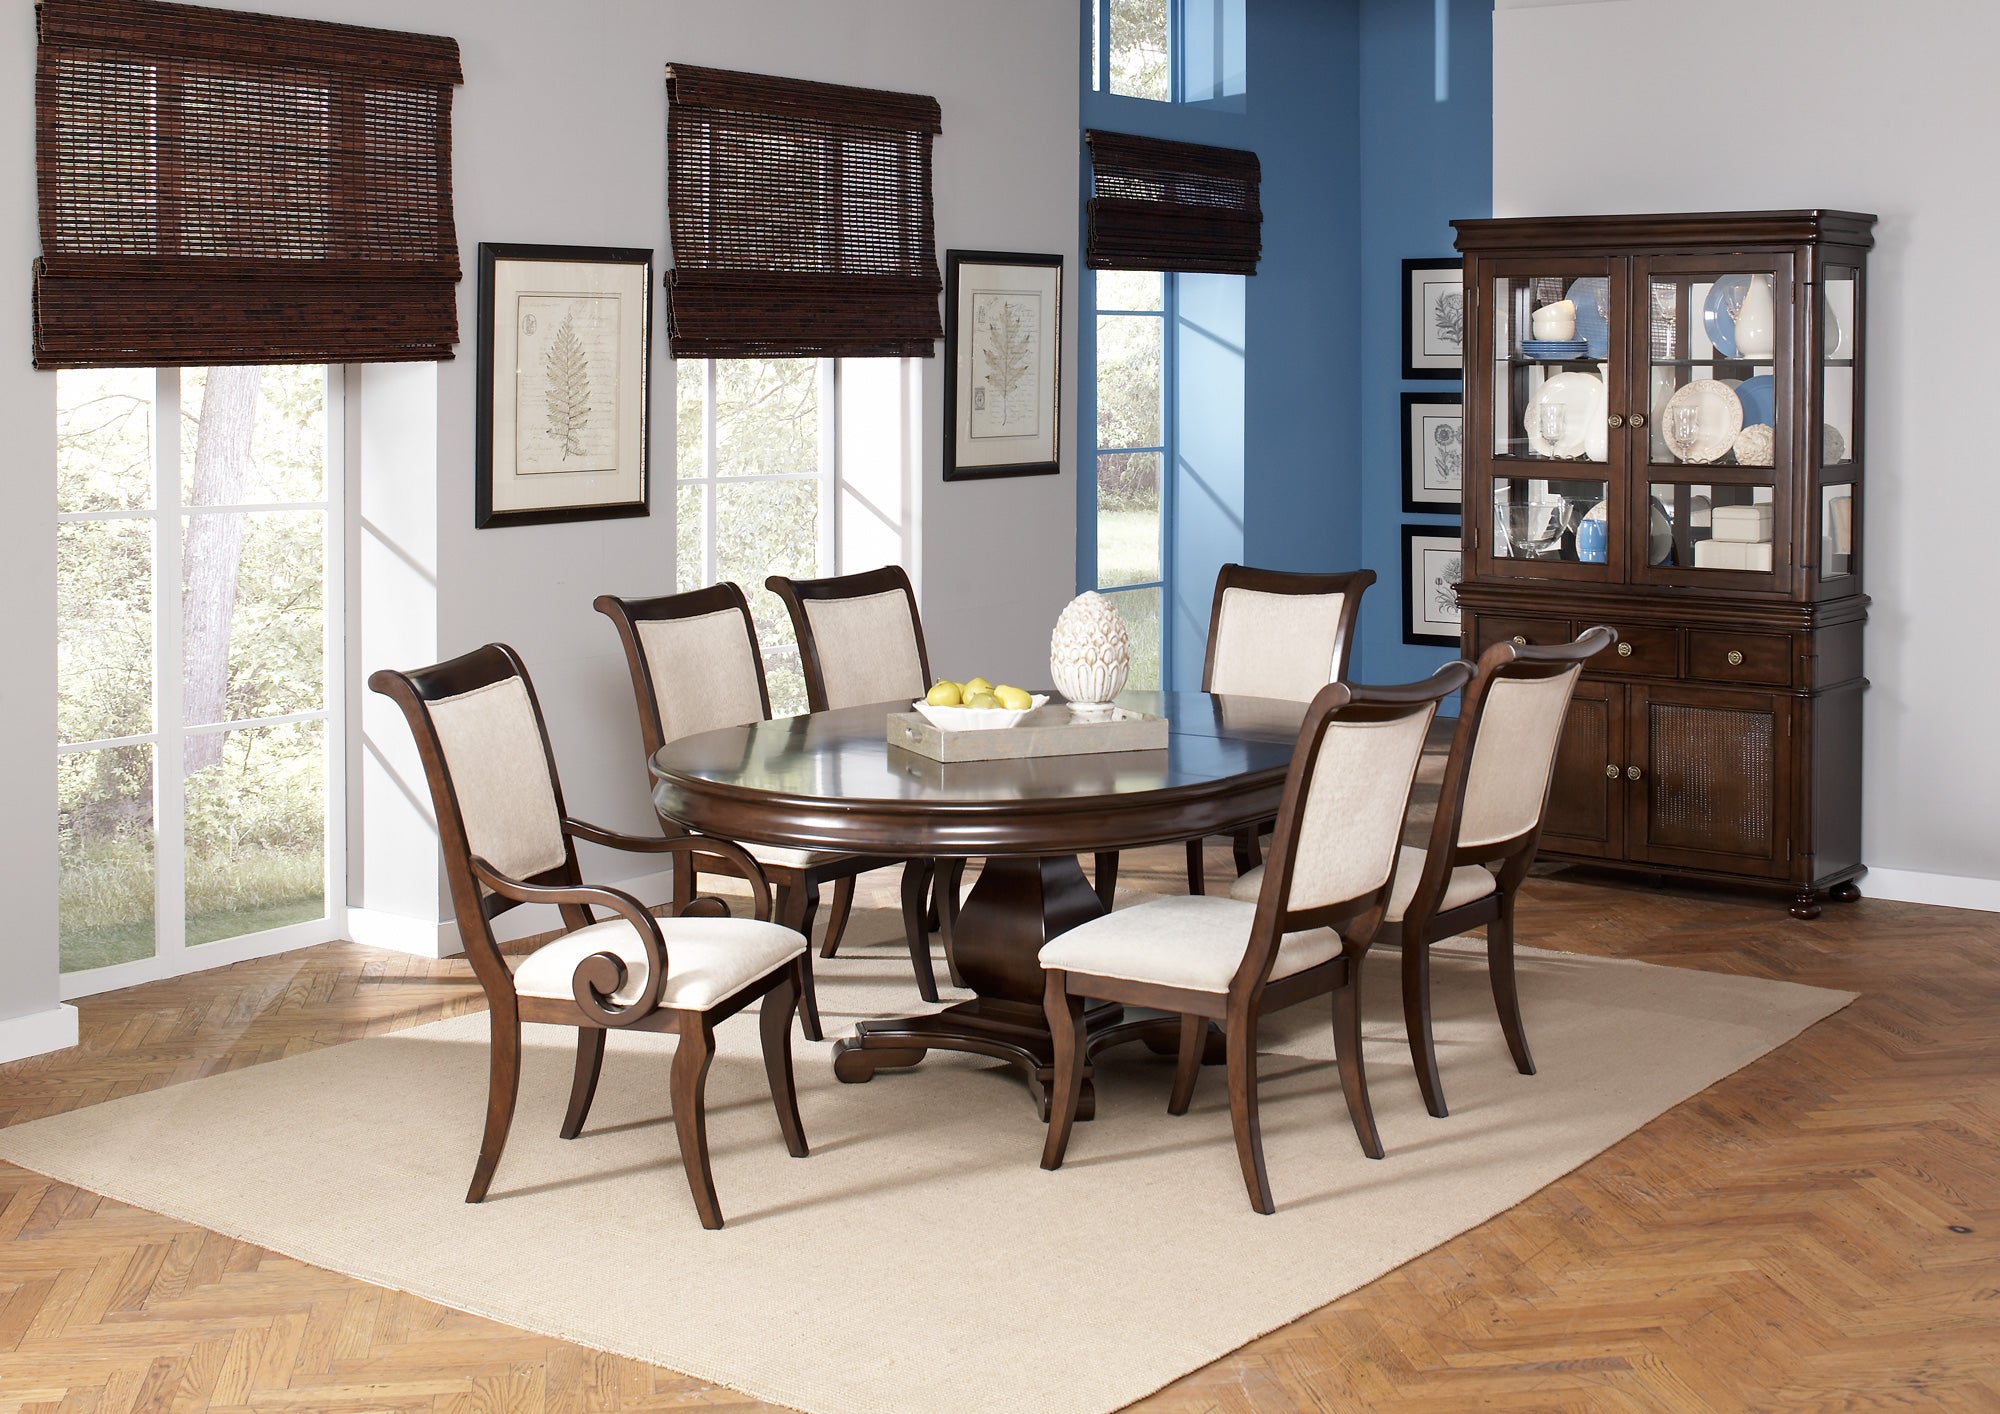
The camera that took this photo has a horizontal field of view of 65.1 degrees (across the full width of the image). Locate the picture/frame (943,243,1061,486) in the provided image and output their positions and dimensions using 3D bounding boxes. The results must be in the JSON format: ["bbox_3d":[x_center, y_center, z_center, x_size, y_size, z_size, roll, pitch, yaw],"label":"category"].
[{"bbox_3d":[0.015,-1.530,7.035,0.147,1.011,0.811,7,12,36],"label":"picture/frame"}]

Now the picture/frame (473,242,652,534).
[{"bbox_3d":[-1.552,-1.147,5.626,0.135,0.990,0.772,6,12,33],"label":"picture/frame"}]

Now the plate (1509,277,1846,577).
[{"bbox_3d":[2.587,-1.064,5.885,1.203,1.108,0.413,2,3,35],"label":"plate"}]

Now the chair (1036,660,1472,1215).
[{"bbox_3d":[0.612,0.525,3.771,0.853,1.159,0.648,0,3,37],"label":"chair"}]
